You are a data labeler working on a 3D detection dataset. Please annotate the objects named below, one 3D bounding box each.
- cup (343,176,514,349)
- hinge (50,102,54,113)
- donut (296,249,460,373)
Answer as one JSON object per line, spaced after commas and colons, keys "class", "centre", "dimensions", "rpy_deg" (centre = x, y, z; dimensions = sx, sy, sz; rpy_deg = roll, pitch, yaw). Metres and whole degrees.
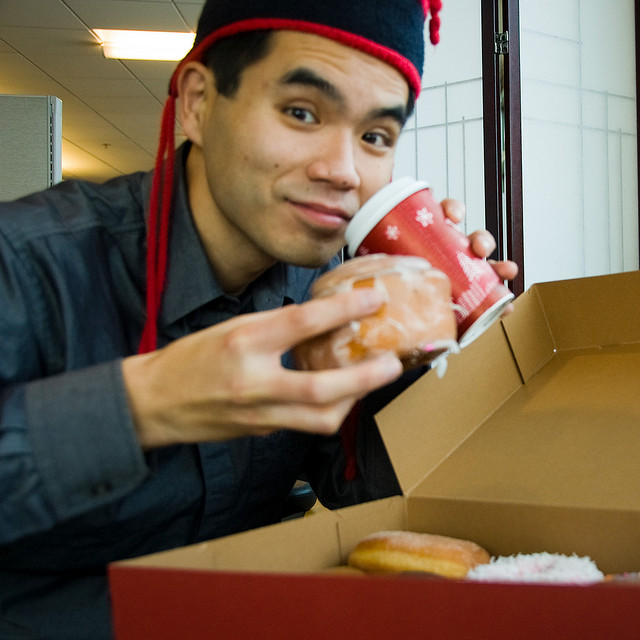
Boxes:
{"class": "cup", "centre": [0.105, -0.048, 0.729], "dimensions": [0.175, 0.193, 0.180], "rpy_deg": [-44, -7, -6]}
{"class": "hinge", "centre": [-1.111, -0.869, 2.457], "dimensions": [0.011, 0.027, 0.015], "rpy_deg": [-1, 2, 9]}
{"class": "donut", "centre": [0.057, -0.012, 0.538], "dimensions": [0.132, 0.099, 0.052], "rpy_deg": [-9, 32, -22]}
